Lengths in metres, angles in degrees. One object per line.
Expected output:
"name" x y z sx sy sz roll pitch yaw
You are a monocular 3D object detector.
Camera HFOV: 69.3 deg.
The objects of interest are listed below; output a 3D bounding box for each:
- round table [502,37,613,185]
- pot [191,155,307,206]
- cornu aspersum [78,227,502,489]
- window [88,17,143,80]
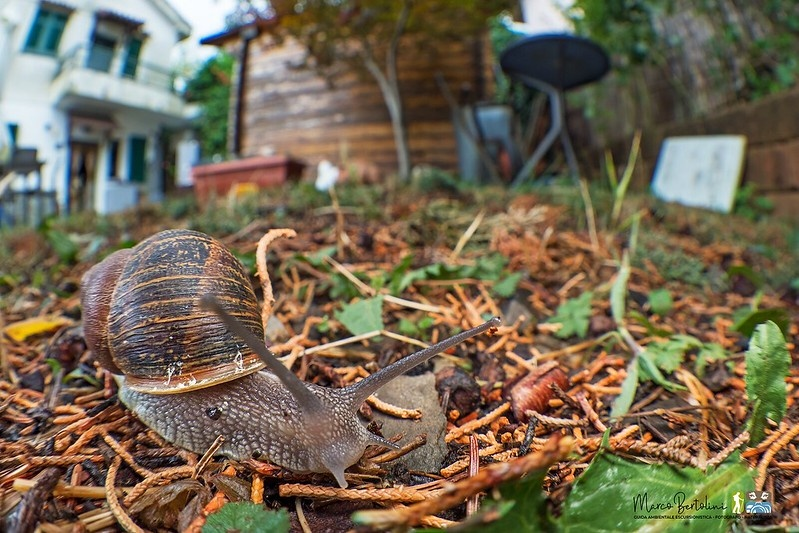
"round table" 0.854 -0.830 3.143 0.552 0.771 0.407 -5 5 32
"pot" -1.079 -0.619 3.958 0.539 0.169 0.362 -4 6 24
"cornu aspersum" -0.734 0.342 2.500 1.379 0.990 0.554 2 10 25
"window" -1.322 -1.002 2.710 0.186 0.298 0.173 3 6 22
